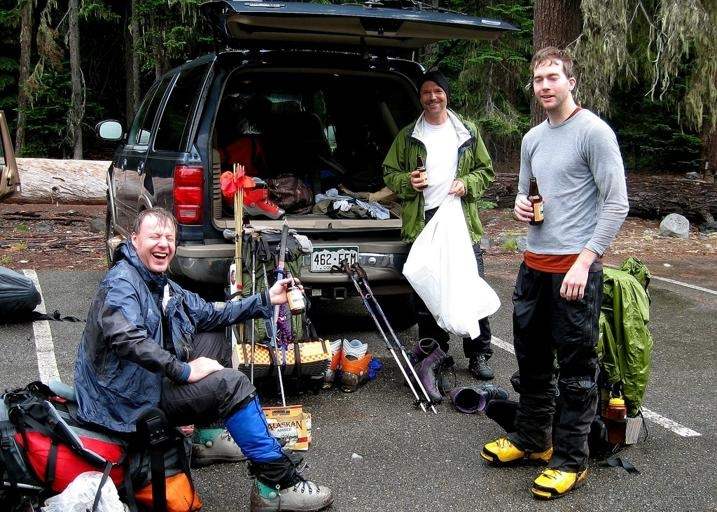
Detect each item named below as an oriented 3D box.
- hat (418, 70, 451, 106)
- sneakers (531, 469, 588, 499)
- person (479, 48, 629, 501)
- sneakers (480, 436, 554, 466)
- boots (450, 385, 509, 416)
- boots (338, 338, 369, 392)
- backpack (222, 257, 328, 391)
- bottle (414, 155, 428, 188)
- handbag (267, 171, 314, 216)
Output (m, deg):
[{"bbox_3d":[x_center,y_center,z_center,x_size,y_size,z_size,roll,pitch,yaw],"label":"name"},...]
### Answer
[{"bbox_3d":[0.629,-1.350,5.164,0.224,0.256,0.288,-8,31,-22],"label":"hat"},{"bbox_3d":[1.138,1.253,3.632,0.337,0.134,0.128,1,2,-29],"label":"sneakers"},{"bbox_3d":[1.116,0.071,3.670,0.612,2.435,0.747,-6,15,-26],"label":"person"},{"bbox_3d":[0.929,1.186,3.981,0.452,0.200,0.173,5,24,-9],"label":"sneakers"},{"bbox_3d":[0.836,1.006,4.492,0.348,0.191,0.145,-4,0,11],"label":"boots"},{"bbox_3d":[-0.020,0.822,4.923,0.276,0.348,0.267,-3,14,-14],"label":"boots"},{"bbox_3d":[-0.571,0.449,4.662,0.688,0.896,0.325,2,-26,-13],"label":"backpack"},{"bbox_3d":[0.490,-0.659,4.969,0.094,0.240,0.211,2,14,5],"label":"bottle"},{"bbox_3d":[-0.575,-0.550,5.666,0.314,0.283,0.396,-26,-42,30],"label":"handbag"}]
